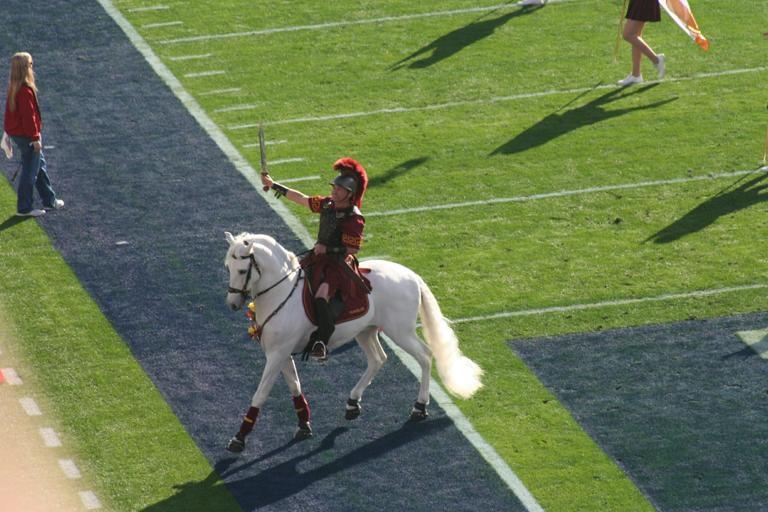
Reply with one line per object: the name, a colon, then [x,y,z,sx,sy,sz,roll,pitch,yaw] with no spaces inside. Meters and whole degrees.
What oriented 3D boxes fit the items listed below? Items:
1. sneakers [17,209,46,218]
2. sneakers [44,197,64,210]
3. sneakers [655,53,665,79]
sneakers: [-6.816,-0.819,31.836,0.540,0.166,0.172,-5,21,-15]
sneakers: [-6.395,-0.982,32.133,0.443,0.278,0.133,-20,73,-22]
sneakers: [6.385,-4.300,37.297,0.282,0.545,0.220,-4,23,8]
